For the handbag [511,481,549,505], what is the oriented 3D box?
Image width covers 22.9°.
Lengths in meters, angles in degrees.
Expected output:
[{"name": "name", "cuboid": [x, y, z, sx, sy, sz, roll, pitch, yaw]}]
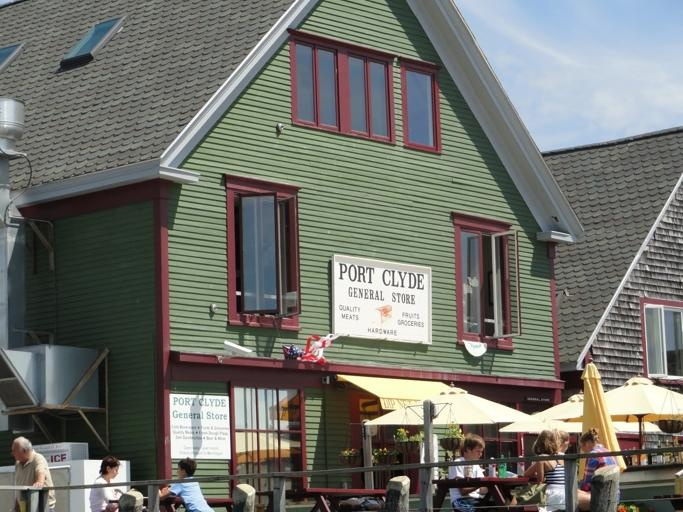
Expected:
[{"name": "handbag", "cuboid": [2.998, 3.771, 26.828, 0.476, 0.149, 0.346, -1, 3, 15]}]

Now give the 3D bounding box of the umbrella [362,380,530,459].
[{"name": "umbrella", "cuboid": [1.926, 2.925, 32.066, 2.792, 1.361, 4.382, 1, -15, -14]}]

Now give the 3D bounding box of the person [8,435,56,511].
[{"name": "person", "cuboid": [-5.159, 3.675, 28.316, 0.647, 1.277, 1.343, 0, -16, -9]}]
